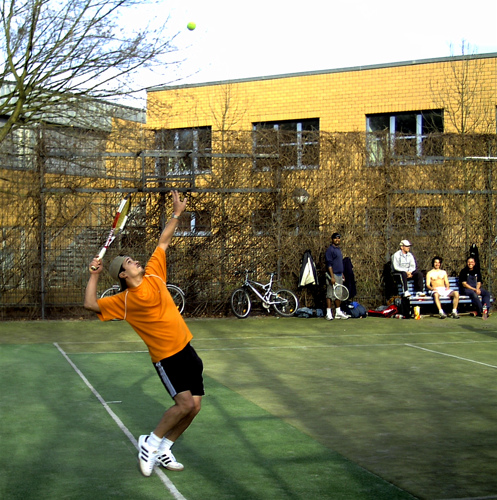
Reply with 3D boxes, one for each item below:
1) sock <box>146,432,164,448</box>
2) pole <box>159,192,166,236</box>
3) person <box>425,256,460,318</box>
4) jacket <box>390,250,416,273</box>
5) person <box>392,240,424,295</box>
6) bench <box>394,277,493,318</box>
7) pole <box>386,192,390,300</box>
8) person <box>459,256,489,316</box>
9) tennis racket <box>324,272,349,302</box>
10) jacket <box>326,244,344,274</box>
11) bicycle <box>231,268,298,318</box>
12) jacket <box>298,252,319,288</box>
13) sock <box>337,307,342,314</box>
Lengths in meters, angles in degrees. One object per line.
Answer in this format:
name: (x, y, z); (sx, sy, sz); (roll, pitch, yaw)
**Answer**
sock: (-0.762, 1.512, 4.609); (0.125, 0.125, 0.050); (0, 0, 16)
pole: (-2.201, -0.942, 14.664); (0.175, 1.066, 0.221); (0, 0, 13)
person: (5.173, 0.973, 15.257); (0.819, 1.541, 0.601); (0, 0, -4)
jacket: (4.034, 0.308, 15.240); (0.654, 0.543, 0.540); (2, -8, -14)
person: (4.138, 0.466, 15.121); (0.572, 1.343, 0.919); (0, 0, 35)
bench: (4.905, 1.257, 15.402); (2.238, 1.009, 0.734); (0, 0, -15)
pole: (3.789, -0.090, 15.672); (0.125, 2.803, 0.220); (0, 0, 12)
person: (6.040, 0.940, 15.283); (0.612, 1.478, 0.772); (0, 0, -12)
tennis racket: (2.245, 0.945, 14.583); (0.037, 0.675, 0.287); (-26, -37, -15)
jacket: (2.194, 0.230, 14.719); (0.424, 0.736, 0.293); (0, 0, 5)
bicycle: (0.367, 1.173, 14.990); (2.008, 1.049, 0.884); (1, -7, -17)
jacket: (1.533, 0.500, 14.846); (0.467, 0.856, 0.307); (0, 0, 5)
sock: (2.354, 1.551, 14.902); (0.075, 0.171, 0.232); (0, 0, 26)
